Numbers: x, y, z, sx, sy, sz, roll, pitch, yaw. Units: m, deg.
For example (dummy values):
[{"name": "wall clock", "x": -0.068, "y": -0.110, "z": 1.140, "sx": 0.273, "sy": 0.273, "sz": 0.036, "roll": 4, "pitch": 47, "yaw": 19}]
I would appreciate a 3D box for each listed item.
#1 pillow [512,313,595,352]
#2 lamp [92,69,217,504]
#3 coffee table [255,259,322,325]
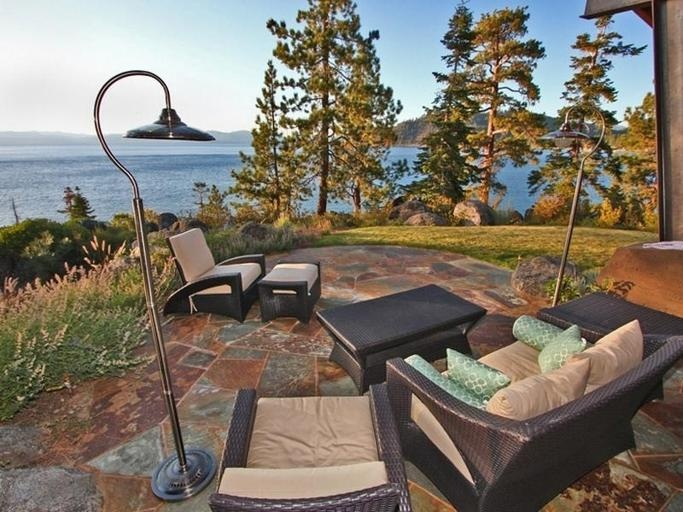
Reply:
[{"name": "pillow", "x": 2.044, "y": 0.772, "z": 4.306, "sx": 0.475, "sy": 0.383, "sz": 0.162, "roll": 15, "pitch": -10, "yaw": 24}, {"name": "lamp", "x": -1.501, "y": 0.283, "z": 3.655, "sx": 0.746, "sy": 3.575, "sz": 1.047, "roll": -8, "pitch": 17, "yaw": -27}, {"name": "coffee table", "x": -0.712, "y": 0.536, "z": 6.129, "sx": 0.621, "sy": 0.511, "sz": 0.966, "roll": 1, "pitch": 19, "yaw": 8}]
